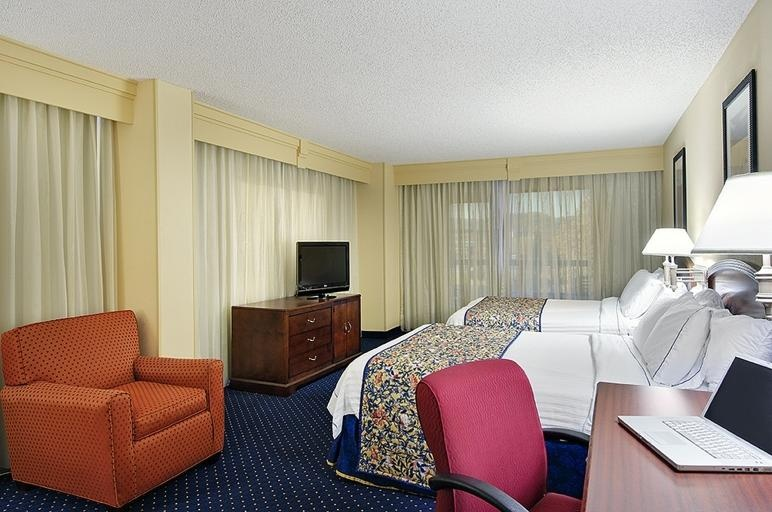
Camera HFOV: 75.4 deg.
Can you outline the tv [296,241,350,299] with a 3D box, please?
[{"bbox_3d":[-0.817,0.160,6.552,0.132,0.669,0.927,3,3,38],"label":"tv"}]
